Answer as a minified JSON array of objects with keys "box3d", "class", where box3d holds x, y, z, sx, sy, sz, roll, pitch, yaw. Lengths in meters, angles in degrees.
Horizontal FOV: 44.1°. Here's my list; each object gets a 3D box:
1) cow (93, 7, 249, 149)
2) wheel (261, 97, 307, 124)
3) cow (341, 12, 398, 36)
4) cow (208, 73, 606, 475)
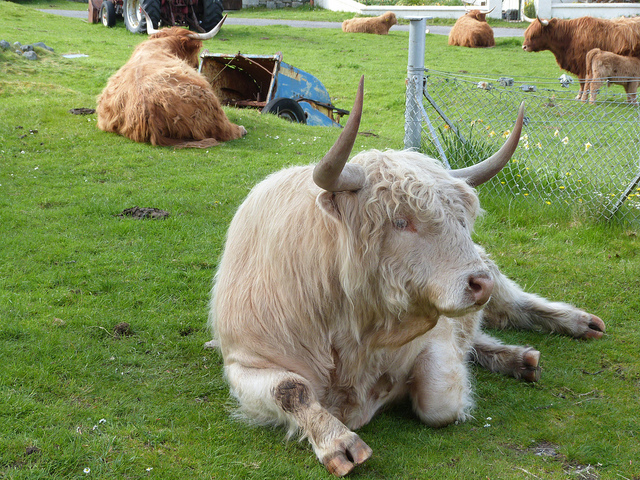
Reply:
[{"box3d":[-2.446,-2.366,13.693,1.931,1.805,2.902,11,33,6],"class":"cow"},{"box3d":[-0.717,-2.419,14.960,0.524,0.613,0.173,8,7,-37],"class":"wheel"},{"box3d":[1.969,-8.858,32.123,2.290,1.203,0.971,-7,36,-12],"class":"cow"},{"box3d":[0.281,0.224,7.541,3.464,2.982,3.006,-16,32,-31],"class":"cow"}]
